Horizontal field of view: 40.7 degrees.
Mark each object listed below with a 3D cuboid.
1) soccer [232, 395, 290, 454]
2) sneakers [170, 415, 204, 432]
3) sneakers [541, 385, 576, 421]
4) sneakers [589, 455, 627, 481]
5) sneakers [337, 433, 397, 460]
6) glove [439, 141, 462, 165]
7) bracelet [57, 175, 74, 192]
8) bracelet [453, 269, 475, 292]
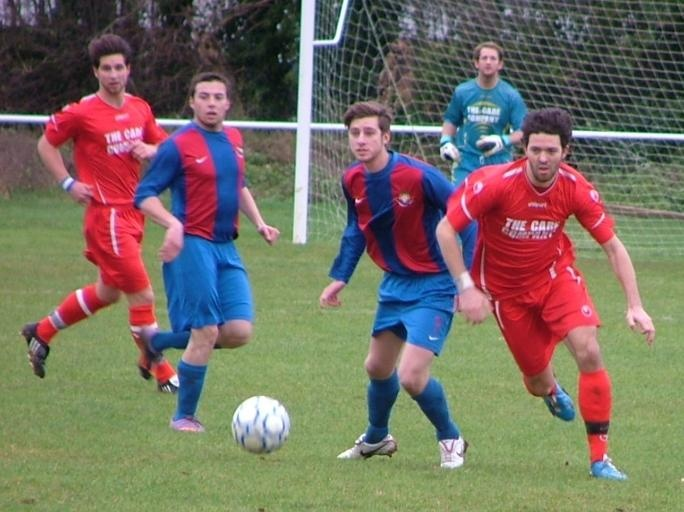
[{"bbox_3d":[-0.570,1.193,6.493,0.443,0.395,0.441,1,15,-17],"label":"soccer"},{"bbox_3d":[-1.133,1.227,6.780,0.188,0.073,0.112,-3,-3,36],"label":"sneakers"},{"bbox_3d":[1.650,1.121,7.040,0.140,0.400,0.169,-25,27,17],"label":"sneakers"},{"bbox_3d":[1.795,1.433,6.240,0.119,0.096,0.216,0,-2,-25],"label":"sneakers"},{"bbox_3d":[0.200,1.353,6.663,0.469,0.236,0.159,-4,-1,-11],"label":"sneakers"},{"bbox_3d":[1.177,-1.122,10.027,0.167,0.230,0.108,-45,-30,26],"label":"glove"},{"bbox_3d":[-2.296,-0.605,7.727,0.058,0.120,0.154,9,-2,-34],"label":"bracelet"},{"bbox_3d":[0.827,0.168,6.259,0.127,0.132,0.040,-11,-5,23],"label":"bracelet"}]
